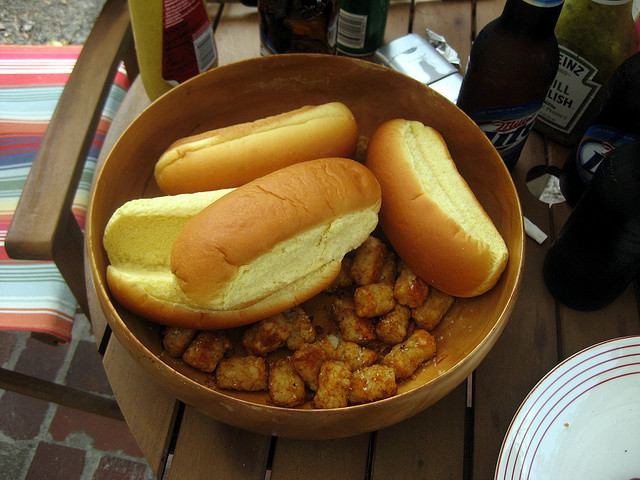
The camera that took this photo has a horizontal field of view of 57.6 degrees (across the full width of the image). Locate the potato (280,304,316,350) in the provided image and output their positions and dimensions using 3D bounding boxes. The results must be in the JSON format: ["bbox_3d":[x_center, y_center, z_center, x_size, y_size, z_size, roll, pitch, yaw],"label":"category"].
[{"bbox_3d":[-0.034,0.143,0.951,0.045,0.020,0.069,-22,77,-8],"label":"potato"}]

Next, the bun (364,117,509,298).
[{"bbox_3d":[0.186,-0.053,0.950,0.156,0.112,0.336,-17,70,3],"label":"bun"}]

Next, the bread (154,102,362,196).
[{"bbox_3d":[-0.125,-0.129,1.092,0.417,0.193,0.157,-3,86,35],"label":"bread"}]

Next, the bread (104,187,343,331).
[{"bbox_3d":[-0.172,0.041,0.933,0.298,0.099,0.221,-6,61,-9],"label":"bread"}]

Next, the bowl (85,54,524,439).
[{"bbox_3d":[-0.006,0.016,0.975,0.650,0.294,0.739,3,46,10],"label":"bowl"}]

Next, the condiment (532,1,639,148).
[{"bbox_3d":[0.482,-0.299,1.063,0.140,0.283,0.062,22,52,19],"label":"condiment"}]

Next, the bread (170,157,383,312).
[{"bbox_3d":[-0.078,-0.012,1.011,0.376,0.213,0.176,-29,28,-14],"label":"bread"}]

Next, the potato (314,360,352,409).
[{"bbox_3d":[0.015,0.224,0.900,0.048,0.024,0.070,0,75,4],"label":"potato"}]

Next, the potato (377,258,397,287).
[{"bbox_3d":[0.118,0.054,1.002,0.023,0.016,0.051,12,65,-1],"label":"potato"}]

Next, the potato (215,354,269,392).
[{"bbox_3d":[-0.126,0.203,0.890,0.065,0.022,0.054,2,55,-5],"label":"potato"}]

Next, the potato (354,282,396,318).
[{"bbox_3d":[0.089,0.099,0.954,0.059,0.036,0.047,-17,43,-11],"label":"potato"}]

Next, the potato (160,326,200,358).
[{"bbox_3d":[-0.222,0.158,0.916,0.053,0.016,0.039,-43,68,-4],"label":"potato"}]

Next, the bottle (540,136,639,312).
[{"bbox_3d":[0.456,-0.010,0.946,0.111,0.261,0.134,-14,50,-12],"label":"bottle"}]

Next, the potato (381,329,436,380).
[{"bbox_3d":[0.137,0.176,0.906,0.052,0.036,0.089,33,64,33],"label":"potato"}]

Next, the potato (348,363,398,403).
[{"bbox_3d":[0.082,0.220,0.896,0.076,0.048,0.056,2,50,2],"label":"potato"}]

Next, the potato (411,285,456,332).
[{"bbox_3d":[0.185,0.114,0.957,0.052,0.022,0.074,33,80,20],"label":"potato"}]

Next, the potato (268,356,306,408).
[{"bbox_3d":[-0.055,0.219,0.915,0.056,0.027,0.087,-1,45,-3],"label":"potato"}]

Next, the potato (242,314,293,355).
[{"bbox_3d":[-0.086,0.152,0.924,0.069,0.024,0.051,-40,62,-12],"label":"potato"}]

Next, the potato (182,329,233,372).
[{"bbox_3d":[-0.183,0.177,0.929,0.063,0.027,0.087,16,30,15],"label":"potato"}]

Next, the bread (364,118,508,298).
[{"bbox_3d":[0.185,-0.059,0.952,0.156,0.111,0.333,-19,69,3],"label":"bread"}]

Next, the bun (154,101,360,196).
[{"bbox_3d":[-0.108,-0.152,1.034,0.320,0.121,0.154,-15,29,-1],"label":"bun"}]

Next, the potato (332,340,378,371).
[{"bbox_3d":[0.062,0.188,0.949,0.082,0.034,0.066,-8,23,-6],"label":"potato"}]

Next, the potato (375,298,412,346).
[{"bbox_3d":[0.127,0.132,0.976,0.052,0.036,0.093,0,36,25],"label":"potato"}]

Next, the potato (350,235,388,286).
[{"bbox_3d":[0.081,0.038,0.985,0.046,0.029,0.087,22,93,12],"label":"potato"}]

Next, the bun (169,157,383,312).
[{"bbox_3d":[-0.064,-0.031,1.016,0.379,0.214,0.179,-28,34,-12],"label":"bun"}]
